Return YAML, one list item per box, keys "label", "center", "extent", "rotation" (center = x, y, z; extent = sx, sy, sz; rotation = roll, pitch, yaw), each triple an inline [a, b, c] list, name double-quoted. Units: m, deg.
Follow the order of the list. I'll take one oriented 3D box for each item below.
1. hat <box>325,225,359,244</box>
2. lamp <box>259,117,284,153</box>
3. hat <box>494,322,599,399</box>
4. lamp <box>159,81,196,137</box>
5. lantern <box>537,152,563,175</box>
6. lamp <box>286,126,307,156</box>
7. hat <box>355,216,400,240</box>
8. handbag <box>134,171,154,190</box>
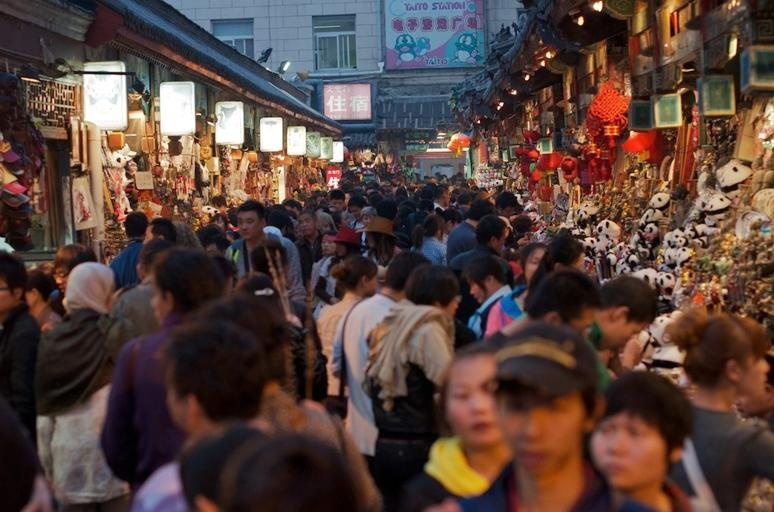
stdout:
- label: "hat"
  center: [-0.417, -0.201, 6.753]
  extent: [0.278, 0.113, 0.250]
  rotation: [10, -6, -36]
- label: "lamp"
  center: [-3.286, -3.491, 17.465]
  extent: [0.614, 0.974, 0.566]
  rotation: [0, 6, -16]
- label: "hat"
  center: [0.504, 0.305, 1.849]
  extent: [0.316, 0.232, 0.436]
  rotation: [5, -10, 27]
- label: "lamp"
  center: [-3.735, -2.607, 10.839]
  extent: [0.656, 0.938, 0.245]
  rotation: [3, 6, 14]
- label: "lantern"
  center: [3.690, -2.094, 13.752]
  extent: [0.426, 0.505, 0.446]
  rotation: [-3, -2, 6]
- label: "lamp"
  center: [-2.992, -3.837, 20.286]
  extent: [0.640, 0.925, 0.557]
  rotation: [0, 6, -13]
- label: "hat"
  center: [-0.039, -0.319, 6.972]
  extent: [0.286, 0.141, 0.339]
  rotation: [4, -11, 43]
- label: "handbag"
  center: [-4.161, -1.277, 10.460]
  extent: [0.283, 0.304, 0.071]
  rotation: [0, 2, -11]
